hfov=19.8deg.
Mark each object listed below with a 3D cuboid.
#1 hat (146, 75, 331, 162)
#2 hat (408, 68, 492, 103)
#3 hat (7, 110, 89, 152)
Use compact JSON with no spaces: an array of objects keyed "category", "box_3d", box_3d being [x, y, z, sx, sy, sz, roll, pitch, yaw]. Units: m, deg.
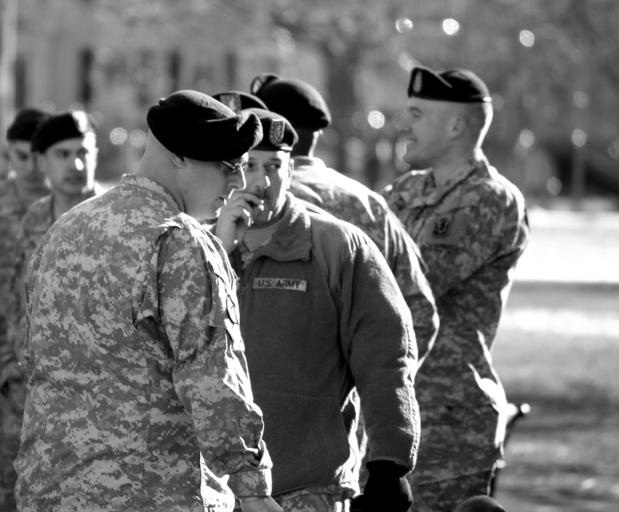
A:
[{"category":"hat","box_3d":[-0.270,-1.207,15.303,0.835,0.290,0.633,29,-5,-29]},{"category":"hat","box_3d":[1.178,-1.451,15.266,0.481,0.192,0.387,5,-3,-9]},{"category":"hat","box_3d":[-2.419,-1.180,16.377,0.583,0.322,0.523,-11,2,-1]}]
